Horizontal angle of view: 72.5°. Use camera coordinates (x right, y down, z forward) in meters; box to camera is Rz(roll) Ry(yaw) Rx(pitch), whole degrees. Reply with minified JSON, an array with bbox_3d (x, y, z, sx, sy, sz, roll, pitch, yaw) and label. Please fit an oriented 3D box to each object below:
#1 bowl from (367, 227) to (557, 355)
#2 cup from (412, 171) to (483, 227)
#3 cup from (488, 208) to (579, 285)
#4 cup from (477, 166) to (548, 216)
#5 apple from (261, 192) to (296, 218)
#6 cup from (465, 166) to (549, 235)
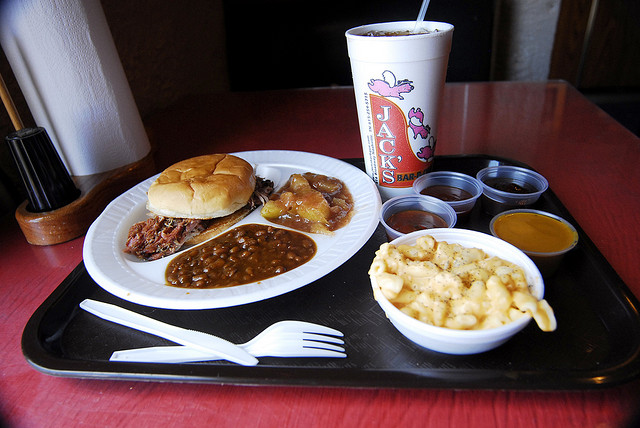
[{"bbox_3d":[0.562,0.310,1.855,0.692,0.281,0.533,-3,40,2],"label":"bowl"},{"bbox_3d":[0.695,-0.131,2.343,0.323,0.148,0.310,-2,41,2],"label":"cup"},{"bbox_3d":[1.033,0.181,2.172,0.383,0.180,0.368,-5,43,5],"label":"cup"},{"bbox_3d":[1.018,-0.144,2.340,0.318,0.148,0.308,-5,36,4],"label":"cup"},{"bbox_3d":[-0.219,-0.032,2.437,0.187,0.044,0.111,-34,50,-9],"label":"apple"},{"bbox_3d":[1.021,-0.078,2.500,0.415,0.281,0.399,-7,43,6],"label":"cup"}]
